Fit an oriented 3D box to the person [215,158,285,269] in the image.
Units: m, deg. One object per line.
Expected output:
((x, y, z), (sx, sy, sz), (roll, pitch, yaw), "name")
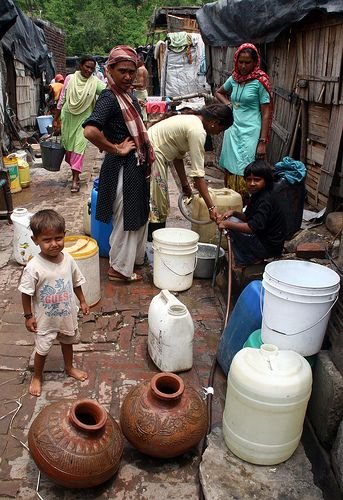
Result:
((0.694, -0.277, 3.244), (0.649, 1.004, 0.514), (-2, 18, 4), "person")

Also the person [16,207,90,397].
((-0.698, 0.313, 2.213), (0.399, 1.108, 0.352), (-6, 25, -25), "person")

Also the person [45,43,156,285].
((-0.463, -0.649, 3.325), (0.661, 2.120, 0.420), (-2, 23, -16), "person")

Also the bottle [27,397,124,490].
((-0.392, 0.845, 1.662), (0.424, 0.325, 0.399), (16, 38, -13), "bottle")

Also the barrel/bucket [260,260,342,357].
((0.679, 0.324, 2.066), (0.376, 0.485, 0.480), (10, 22, 14), "barrel/bucket")

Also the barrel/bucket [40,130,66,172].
((-2.270, -1.933, 6.998), (0.519, 0.798, 0.586), (9, 15, -5), "barrel/bucket")

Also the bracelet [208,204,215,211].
((0.373, -0.393, 3.418), (0.055, 0.039, 0.051), (3, 20, 11), "bracelet")

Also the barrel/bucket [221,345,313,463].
((0.487, 0.772, 1.878), (0.402, 0.552, 0.379), (0, 17, 0), "barrel/bucket")

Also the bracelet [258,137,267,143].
((1.132, -1.382, 4.610), (0.087, 0.052, 0.080), (0, 19, -40), "bracelet")

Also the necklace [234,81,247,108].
((0.845, -1.958, 4.643), (0.055, 0.273, 0.215), (-1, 22, -15), "necklace")

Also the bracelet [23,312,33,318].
((-0.811, 0.369, 2.071), (0.045, 0.032, 0.056), (-1, 10, -6), "bracelet")

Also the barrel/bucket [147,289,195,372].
((-0.011, 0.571, 2.493), (0.280, 0.465, 0.435), (-3, 19, -11), "barrel/bucket")

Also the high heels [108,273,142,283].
((-0.472, 0.293, 3.742), (0.280, 0.090, 0.124), (-3, 32, -9), "high heels")
